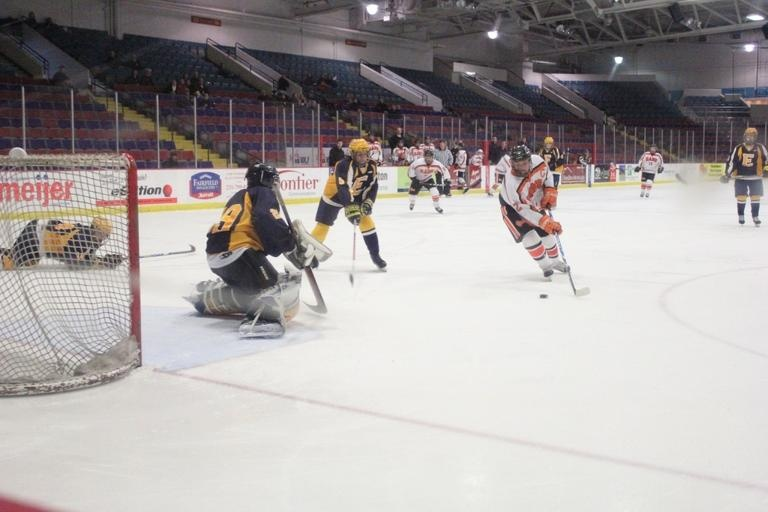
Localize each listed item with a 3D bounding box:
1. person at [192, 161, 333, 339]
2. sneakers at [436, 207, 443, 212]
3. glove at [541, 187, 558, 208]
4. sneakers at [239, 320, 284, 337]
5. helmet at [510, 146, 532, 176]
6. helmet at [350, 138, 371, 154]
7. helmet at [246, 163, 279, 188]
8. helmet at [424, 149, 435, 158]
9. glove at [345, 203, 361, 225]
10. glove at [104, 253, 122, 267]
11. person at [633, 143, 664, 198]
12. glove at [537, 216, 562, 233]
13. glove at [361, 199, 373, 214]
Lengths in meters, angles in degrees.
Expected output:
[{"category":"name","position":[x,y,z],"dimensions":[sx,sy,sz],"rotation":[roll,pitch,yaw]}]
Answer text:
[{"category":"person","position":[-0.950,-0.061,5.299],"dimensions":[1.011,1.252,0.622],"rotation":[-1,8,-2]},{"category":"sneakers","position":[1.120,-0.947,14.395],"dimensions":[0.130,0.067,0.202],"rotation":[-1,5,4]},{"category":"glove","position":[1.676,-0.586,7.069],"dimensions":[0.140,0.217,0.090],"rotation":[2,-27,26]},{"category":"sneakers","position":[-0.903,0.518,5.179],"dimensions":[0.315,0.132,0.200],"rotation":[-2,7,-9]},{"category":"helmet","position":[1.328,-0.930,6.824],"dimensions":[0.212,0.314,0.299],"rotation":[1,8,11]},{"category":"helmet","position":[-0.253,-1.131,7.339],"dimensions":[0.190,0.149,0.169],"rotation":[-1,-37,2]},{"category":"helmet","position":[-0.930,-0.617,5.437],"dimensions":[0.227,0.180,0.175],"rotation":[-17,30,-21]},{"category":"helmet","position":[0.977,-2.210,15.174],"dimensions":[0.360,0.137,0.490],"rotation":[-1,9,0]},{"category":"glove","position":[-0.317,-0.438,7.424],"dimensions":[0.174,0.211,0.143],"rotation":[2,12,45]},{"category":"glove","position":[-2.038,0.029,5.275],"dimensions":[0.183,0.086,0.283],"rotation":[-2,4,-9]},{"category":"person","position":[7.017,-2.223,18.514],"dimensions":[0.577,1.310,1.422],"rotation":[2,8,20]},{"category":"glove","position":[1.602,-0.290,6.765],"dimensions":[0.223,0.084,0.138],"rotation":[28,46,27]},{"category":"glove","position":[-0.141,-0.513,7.401],"dimensions":[0.134,0.133,0.154],"rotation":[-5,-14,32]}]
